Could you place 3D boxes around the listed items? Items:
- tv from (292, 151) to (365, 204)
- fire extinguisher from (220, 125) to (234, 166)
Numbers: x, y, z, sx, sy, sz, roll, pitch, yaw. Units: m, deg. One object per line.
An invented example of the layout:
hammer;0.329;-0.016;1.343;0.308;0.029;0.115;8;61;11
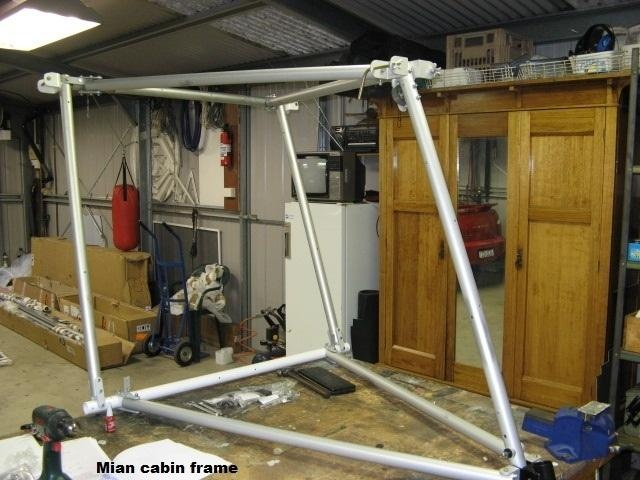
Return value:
tv;0.111;-0.590;4.686;0.710;0.468;0.510;6;12;41
fire extinguisher;-1.177;-1.148;6.355;0.136;0.507;0.245;-6;12;-31
